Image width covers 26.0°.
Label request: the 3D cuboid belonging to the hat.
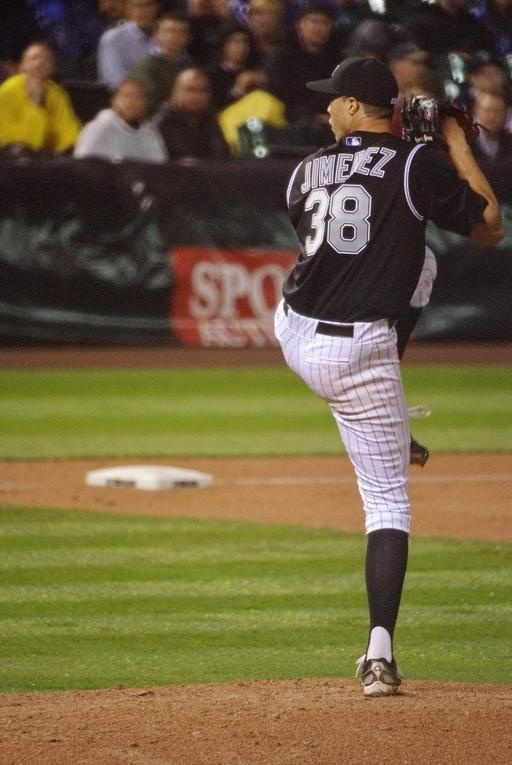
[{"bbox_3d":[0.254,-0.797,2.963,0.211,0.100,0.136,11,22,10],"label":"hat"}]

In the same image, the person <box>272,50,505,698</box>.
[{"bbox_3d":[0.324,0.053,2.961,0.426,1.424,0.546,-2,10,-42],"label":"person"}]

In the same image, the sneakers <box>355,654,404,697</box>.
[{"bbox_3d":[0.304,0.729,2.780,0.067,0.065,0.152,0,3,3],"label":"sneakers"}]

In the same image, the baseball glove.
[{"bbox_3d":[0.530,-0.777,3.210,0.194,0.116,0.246,6,5,17],"label":"baseball glove"}]
